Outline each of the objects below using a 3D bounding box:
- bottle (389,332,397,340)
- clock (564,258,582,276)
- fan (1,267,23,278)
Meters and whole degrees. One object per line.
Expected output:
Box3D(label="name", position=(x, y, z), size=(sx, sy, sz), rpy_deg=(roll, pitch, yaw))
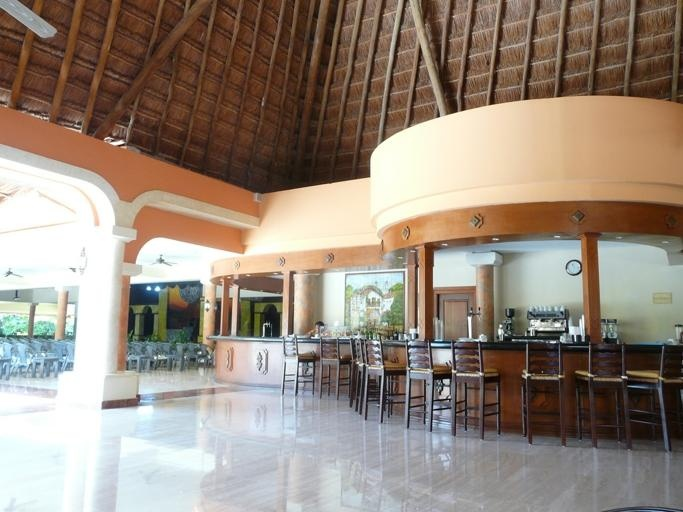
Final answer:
Box3D(label="bottle", position=(1.084, 1.689, 10.004), size=(0.094, 0.199, 0.192), rpy_deg=(-4, -9, 23))
Box3D(label="clock", position=(5.333, 0.251, 10.894), size=(0.140, 0.402, 0.325), rpy_deg=(6, -8, -44))
Box3D(label="fan", position=(-11.651, 0.604, 16.744), size=(0.589, 0.173, 0.629), rpy_deg=(-2, -8, 7))
